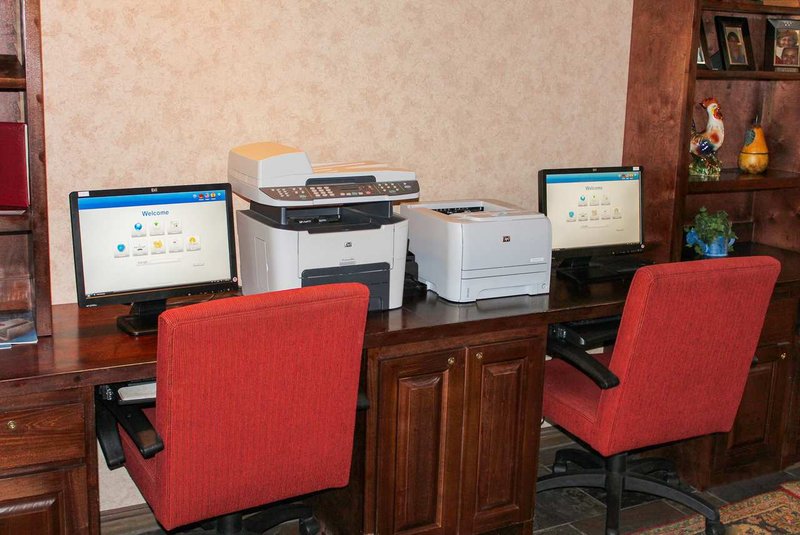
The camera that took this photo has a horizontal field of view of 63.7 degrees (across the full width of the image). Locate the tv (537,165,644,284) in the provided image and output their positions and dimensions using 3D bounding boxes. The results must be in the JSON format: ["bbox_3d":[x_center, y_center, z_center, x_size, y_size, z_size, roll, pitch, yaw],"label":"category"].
[{"bbox_3d":[0.995,-0.228,3.385,0.701,0.546,0.348,-4,6,-19],"label":"tv"}]

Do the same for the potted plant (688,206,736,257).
[{"bbox_3d":[1.725,-0.208,3.631,0.322,0.194,0.296,-3,14,-6],"label":"potted plant"}]

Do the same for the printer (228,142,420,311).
[{"bbox_3d":[-0.362,-0.144,3.028,1.075,0.876,0.729,-4,12,-27],"label":"printer"}]

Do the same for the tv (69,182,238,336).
[{"bbox_3d":[-1.006,-0.034,2.609,0.703,0.524,0.229,-3,13,-26],"label":"tv"}]

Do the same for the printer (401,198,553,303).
[{"bbox_3d":[0.363,-0.084,2.996,0.562,0.327,0.539,-6,13,-24],"label":"printer"}]
